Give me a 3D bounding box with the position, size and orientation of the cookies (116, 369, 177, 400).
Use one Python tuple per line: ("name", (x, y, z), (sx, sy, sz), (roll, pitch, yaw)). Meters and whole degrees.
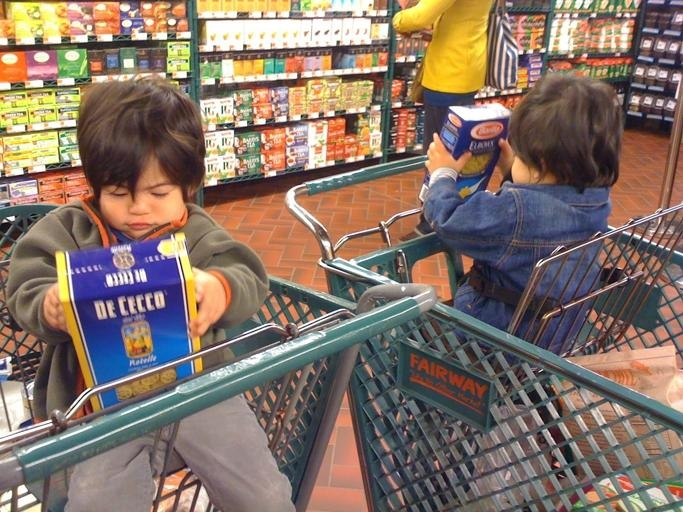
("cookies", (-0.458, 0.299, 1.177), (0.138, 0.063, 0.024), (-9, 22, -15))
